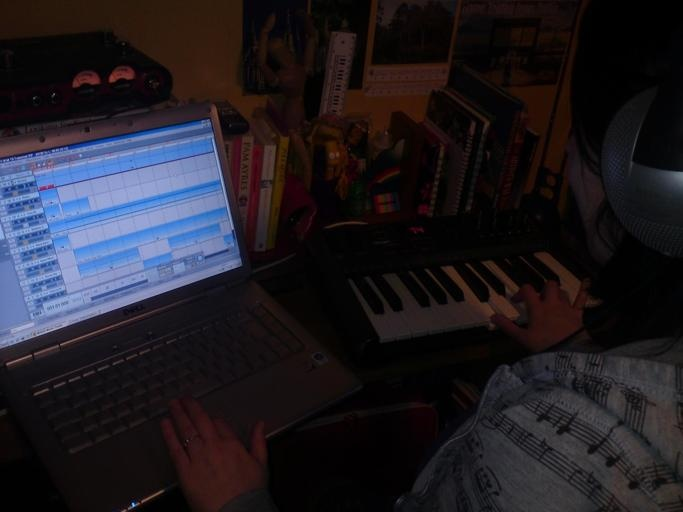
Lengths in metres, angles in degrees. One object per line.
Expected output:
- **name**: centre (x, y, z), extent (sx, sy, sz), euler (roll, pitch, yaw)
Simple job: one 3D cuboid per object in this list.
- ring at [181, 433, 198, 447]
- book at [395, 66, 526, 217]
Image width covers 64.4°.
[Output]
- **ring**: centre (-0.289, 0.354, 1.044), extent (0.029, 0.011, 0.023), euler (-3, 35, 1)
- **book**: centre (0.380, -0.347, 1.669), extent (0.128, 0.448, 0.321), euler (-10, 22, -16)
